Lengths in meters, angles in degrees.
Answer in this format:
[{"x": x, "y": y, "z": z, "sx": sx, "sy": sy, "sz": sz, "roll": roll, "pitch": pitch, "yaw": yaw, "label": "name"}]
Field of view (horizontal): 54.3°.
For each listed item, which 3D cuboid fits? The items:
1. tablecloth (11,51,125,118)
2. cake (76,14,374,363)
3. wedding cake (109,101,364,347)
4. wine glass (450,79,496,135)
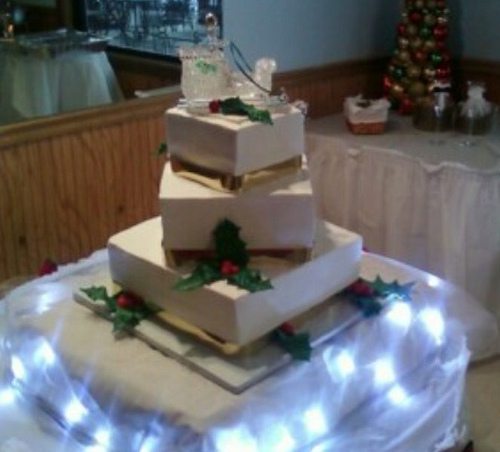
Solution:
[{"x": -0.649, "y": -0.517, "z": 1.721, "sx": 0.363, "sy": 0.209, "sz": 0.406, "roll": 4, "pitch": 21, "yaw": 18, "label": "tablecloth"}, {"x": -0.028, "y": -0.081, "z": 0.927, "sx": 0.544, "sy": 0.470, "sz": 0.561, "roll": 3, "pitch": 19, "yaw": 9, "label": "cake"}, {"x": -0.031, "y": -0.055, "z": 0.959, "sx": 0.500, "sy": 0.328, "sz": 0.542, "roll": 2, "pitch": 19, "yaw": 5, "label": "wedding cake"}, {"x": 0.932, "y": -0.495, "z": 2.042, "sx": 0.119, "sy": 0.206, "sz": 0.161, "roll": -16, "pitch": 26, "yaw": -32, "label": "wine glass"}]
